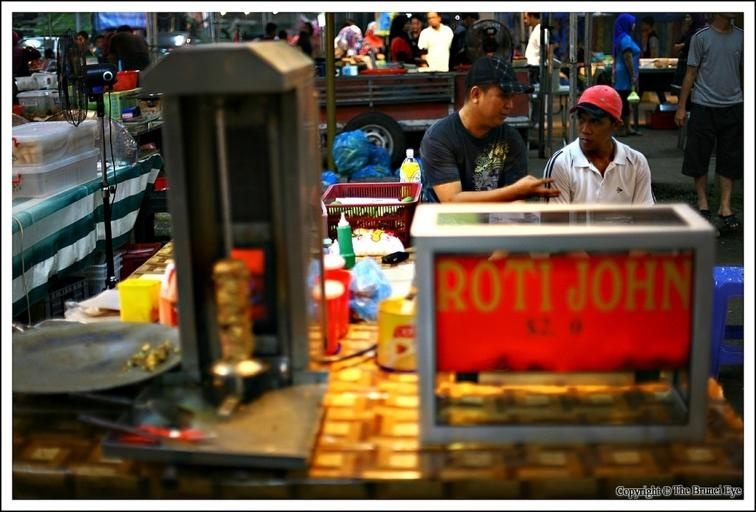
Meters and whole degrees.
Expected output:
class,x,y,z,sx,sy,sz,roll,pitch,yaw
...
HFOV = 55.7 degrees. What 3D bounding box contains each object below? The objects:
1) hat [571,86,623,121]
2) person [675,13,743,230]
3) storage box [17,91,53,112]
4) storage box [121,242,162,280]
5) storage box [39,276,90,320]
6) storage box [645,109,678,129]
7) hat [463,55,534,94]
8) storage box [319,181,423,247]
class,x,y,z,sx,sy,sz,roll,pitch,yaw
hat,1.241,-0.881,4.055,0.253,0.186,0.350,23,17,38
person,3.509,-1.391,7.529,0.652,2.195,0.613,4,19,19
storage box,-3.248,-1.466,6.803,0.246,0.181,0.192,-5,17,-17
storage box,-1.828,0.045,5.493,0.258,0.263,0.221,2,32,-3
storage box,-2.281,0.307,5.172,0.303,0.222,0.506,-1,5,-1
storage box,5.311,-2.545,13.462,0.400,0.258,0.419,7,15,31
hat,0.695,-1.041,4.136,0.429,0.220,0.278,8,6,25
storage box,-0.021,-0.337,5.000,0.447,0.215,0.607,1,15,6
